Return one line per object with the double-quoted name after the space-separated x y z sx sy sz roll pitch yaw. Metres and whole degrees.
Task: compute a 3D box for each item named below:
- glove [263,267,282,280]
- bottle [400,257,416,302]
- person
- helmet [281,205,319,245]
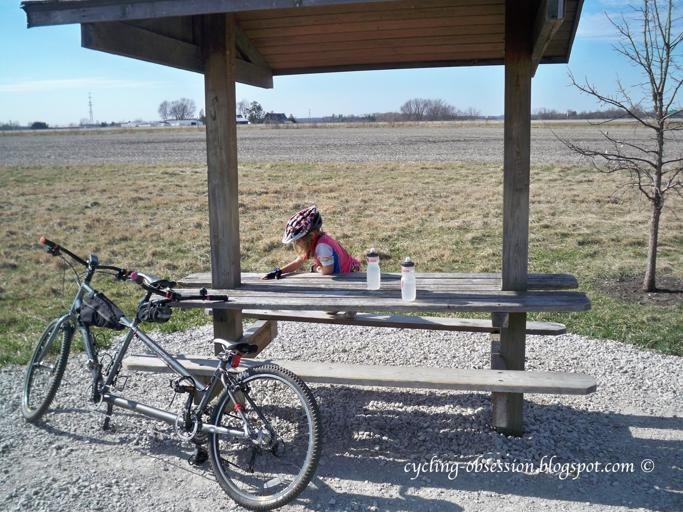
-0.693 0.194 6.334 0.130 0.055 0.099 -20 7 -7 "glove"
0.604 0.191 5.557 0.137 0.372 0.411 0 6 7 "bottle"
-0.276 0.155 6.430 1.083 1.209 0.505 -11 9 -7 "person"
-0.420 -0.301 6.149 0.409 0.193 0.269 -38 15 -26 "helmet"
